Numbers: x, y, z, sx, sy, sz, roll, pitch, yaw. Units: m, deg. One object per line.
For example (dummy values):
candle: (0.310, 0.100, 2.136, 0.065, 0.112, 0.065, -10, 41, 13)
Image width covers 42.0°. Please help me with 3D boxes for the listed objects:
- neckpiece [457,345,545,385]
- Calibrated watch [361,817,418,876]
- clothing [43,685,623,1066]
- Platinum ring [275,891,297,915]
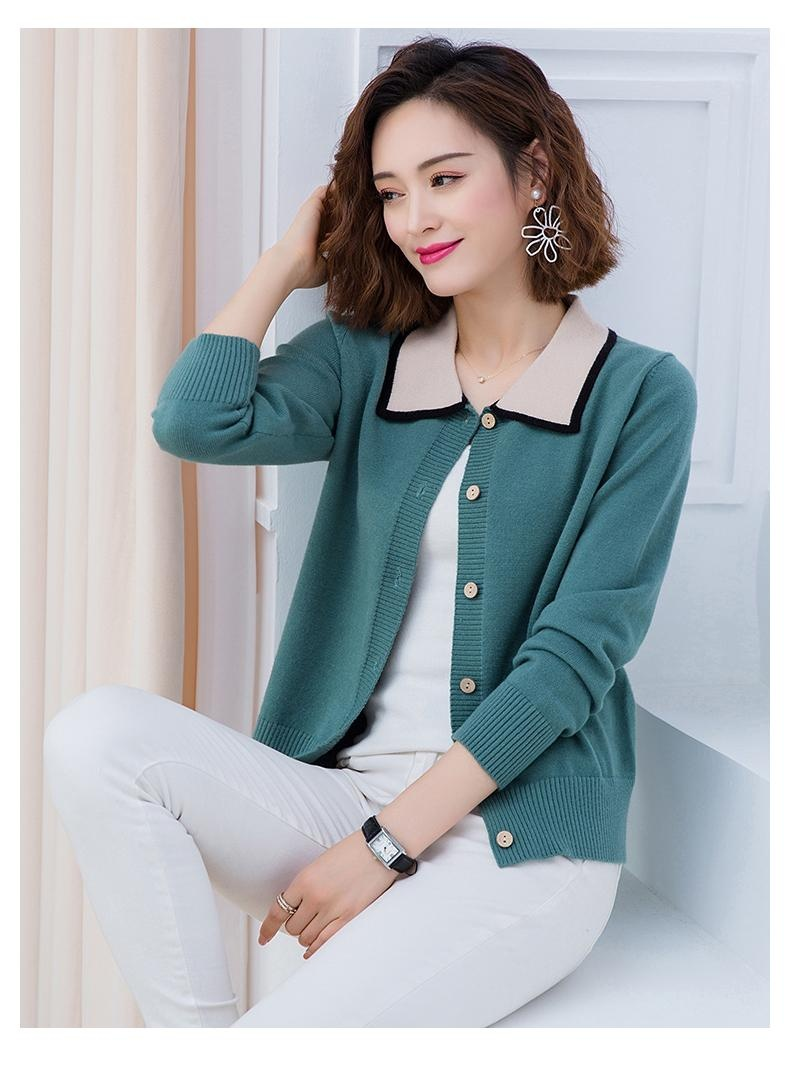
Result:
neckpiece: (0.135, -0.220, 1.407, 0.028, 0.033, 0.148, -3, -8, -40)
Calibrated watch: (-0.006, 0.349, 1.150, 0.048, 0.030, 0.048, 44, -7, 39)
clothing: (-0.062, 0.356, 1.174, 0.468, 0.328, 0.466, 13, 13, 38)
Platinum ring: (-0.124, 0.420, 1.161, 0.011, 0.026, 0.027, -42, 35, -13)
